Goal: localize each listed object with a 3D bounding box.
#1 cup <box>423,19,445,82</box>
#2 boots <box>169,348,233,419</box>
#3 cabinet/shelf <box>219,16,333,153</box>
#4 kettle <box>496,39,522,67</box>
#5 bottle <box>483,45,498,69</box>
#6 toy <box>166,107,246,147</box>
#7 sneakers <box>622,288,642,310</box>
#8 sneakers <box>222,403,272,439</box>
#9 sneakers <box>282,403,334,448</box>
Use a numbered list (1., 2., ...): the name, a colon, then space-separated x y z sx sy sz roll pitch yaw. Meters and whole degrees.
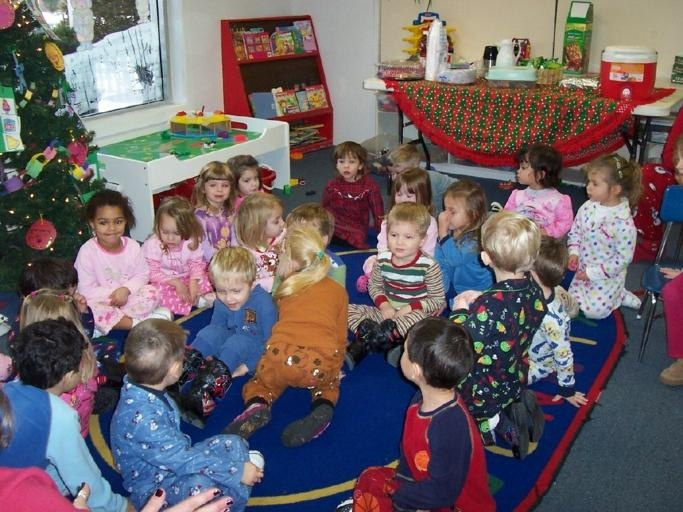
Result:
1. cup: 0.902 -2.057 5.484 0.213 0.578 0.205 -3 20 1
2. boots: -0.755 0.701 3.024 0.281 0.156 0.365 32 66 16
3. cabinet/shelf: -0.862 -2.112 6.592 0.535 1.610 1.668 10 28 34
4. kettle: 1.627 -1.980 5.370 0.205 0.234 0.442 3 21 19
5. bottle: 1.524 -2.052 5.639 0.130 0.213 0.289 0 20 12
6. toy: -1.452 -1.316 5.594 0.522 0.237 0.529 6 20 15
7. sneakers: 2.066 0.320 3.965 0.174 0.066 0.102 31 65 24
8. sneakers: -0.484 0.819 2.782 0.134 0.101 0.245 42 47 20
9. sneakers: -0.174 0.869 2.865 0.154 0.115 0.290 40 64 23
